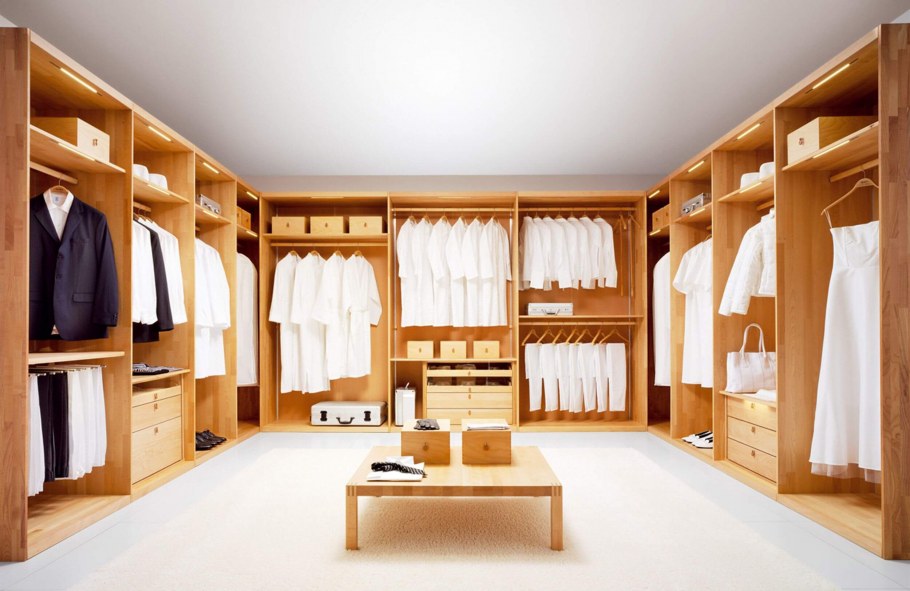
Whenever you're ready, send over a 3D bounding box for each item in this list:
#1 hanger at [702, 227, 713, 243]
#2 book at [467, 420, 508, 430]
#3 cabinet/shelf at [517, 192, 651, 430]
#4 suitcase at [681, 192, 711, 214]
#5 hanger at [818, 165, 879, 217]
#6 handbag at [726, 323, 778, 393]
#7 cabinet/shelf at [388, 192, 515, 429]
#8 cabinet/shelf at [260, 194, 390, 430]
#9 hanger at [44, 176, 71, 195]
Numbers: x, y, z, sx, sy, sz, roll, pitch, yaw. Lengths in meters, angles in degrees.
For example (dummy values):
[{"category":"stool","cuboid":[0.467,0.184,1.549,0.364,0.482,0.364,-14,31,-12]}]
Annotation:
[{"category":"hanger","cuboid":[2.620,-0.641,6.446,0.071,0.149,0.441,4,13,18]},{"category":"book","cuboid":[0.282,1.145,5.421,0.380,0.029,0.342,0,-3,-4]},{"category":"cabinet/shelf","cuboid":[1.484,0.171,7.294,1.507,2.660,1.097,1,12,6]},{"category":"suitcase","cuboid":[2.473,-0.952,6.353,0.250,0.069,0.255,-22,-1,-25]},{"category":"hanger","cuboid":[3.311,-0.885,5.211,0.439,0.308,0.025,-1,1,-3]},{"category":"handbag","cuboid":[2.760,0.605,5.786,0.419,0.608,0.306,2,12,12]},{"category":"cabinet/shelf","cuboid":[-0.020,0.129,7.333,1.502,2.571,1.057,0,12,1]},{"category":"cabinet/shelf","cuboid":[-1.546,0.163,7.385,1.582,2.696,0.890,-2,12,-8]},{"category":"hanger","cuboid":[-3.309,-0.926,5.163,0.193,0.217,0.012,0,3,5]}]
